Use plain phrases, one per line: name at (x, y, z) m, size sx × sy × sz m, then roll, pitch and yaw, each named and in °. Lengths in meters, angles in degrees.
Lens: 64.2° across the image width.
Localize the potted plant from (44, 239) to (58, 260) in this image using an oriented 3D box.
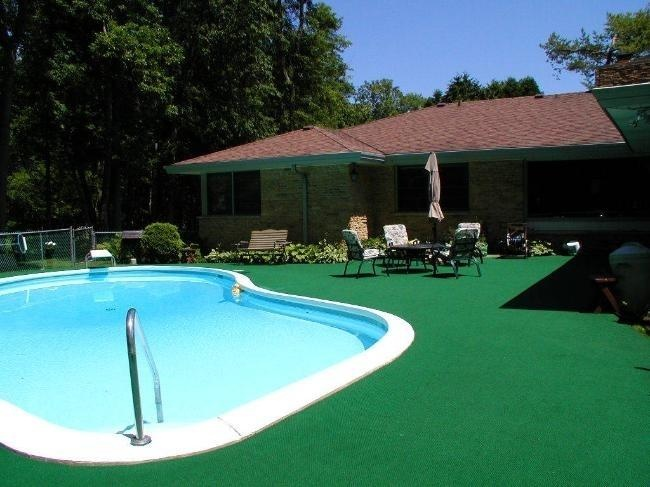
potted plant at (-10.531, 0.278, 19.835) m, size 0.391 × 0.662 × 1.189 m, roll -2°, pitch 0°, yaw -28°

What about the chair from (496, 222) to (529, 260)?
chair at (6.323, -0.113, 17.192) m, size 0.724 × 1.279 × 0.783 m, roll 0°, pitch 5°, yaw 15°

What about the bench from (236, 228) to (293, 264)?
bench at (-2.079, 0.153, 17.715) m, size 1.647 × 1.114 × 0.738 m, roll -1°, pitch 0°, yaw 26°

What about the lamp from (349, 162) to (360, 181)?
lamp at (0.974, -2.390, 17.861) m, size 0.341 × 0.621 × 0.727 m, roll -2°, pitch 0°, yaw 3°
